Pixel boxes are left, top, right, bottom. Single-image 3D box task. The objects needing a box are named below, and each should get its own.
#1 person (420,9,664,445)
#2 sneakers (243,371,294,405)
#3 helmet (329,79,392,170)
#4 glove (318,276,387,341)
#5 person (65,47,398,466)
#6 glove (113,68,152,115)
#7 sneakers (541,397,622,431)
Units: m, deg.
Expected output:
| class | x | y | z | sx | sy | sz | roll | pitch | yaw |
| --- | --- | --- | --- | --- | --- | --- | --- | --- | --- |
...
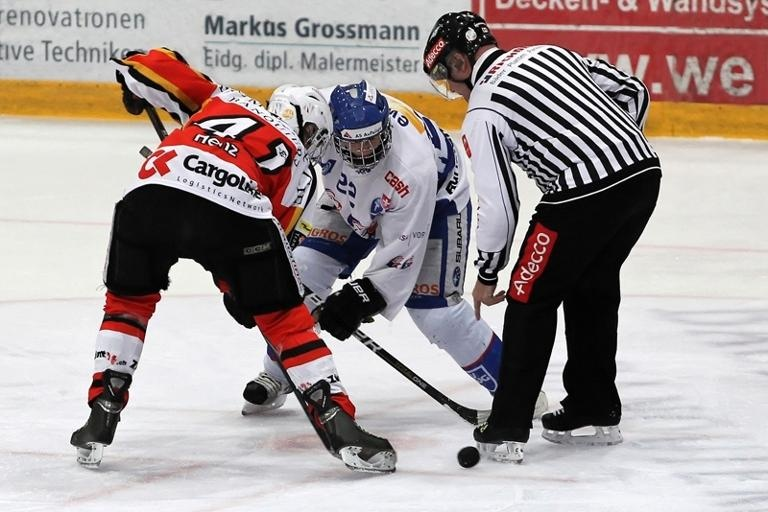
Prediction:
| class | x | y | z | sx | sy | sz | roll | pitch | yaw |
| --- | --- | --- | --- | --- | --- | --- | --- | --- | --- |
| person | 0.741 | -0.016 | 4.150 | 0.806 | 1.703 | 0.429 | -4 | 14 | -17 |
| sneakers | -0.555 | 0.627 | 4.672 | 0.277 | 0.131 | 0.106 | -1 | 52 | -49 |
| helmet | -0.125 | -0.604 | 4.408 | 0.319 | 0.342 | 0.371 | -12 | 40 | -7 |
| glove | -0.163 | 0.239 | 4.343 | 0.320 | 0.237 | 0.116 | -32 | -19 | -4 |
| person | -0.681 | -0.010 | 4.128 | 1.214 | 1.688 | 0.801 | 0 | 13 | -1 |
| glove | -1.120 | -0.703 | 4.324 | 0.097 | 0.237 | 0.180 | -23 | 20 | -9 |
| sneakers | 0.857 | 0.700 | 4.308 | 0.399 | 0.161 | 0.123 | 0 | 0 | 10 |
